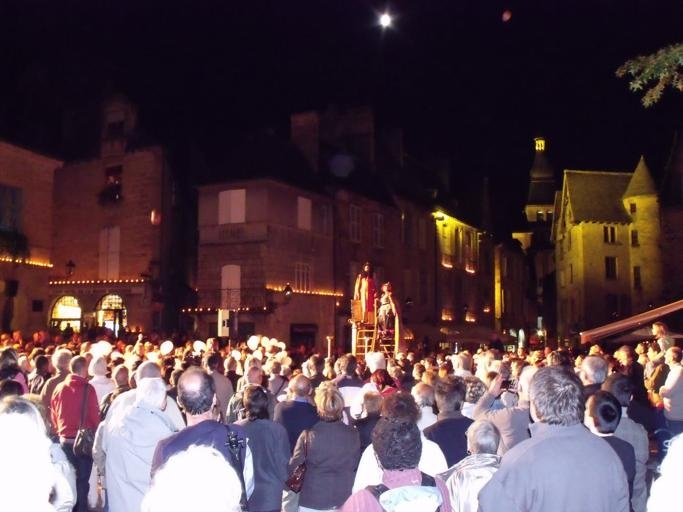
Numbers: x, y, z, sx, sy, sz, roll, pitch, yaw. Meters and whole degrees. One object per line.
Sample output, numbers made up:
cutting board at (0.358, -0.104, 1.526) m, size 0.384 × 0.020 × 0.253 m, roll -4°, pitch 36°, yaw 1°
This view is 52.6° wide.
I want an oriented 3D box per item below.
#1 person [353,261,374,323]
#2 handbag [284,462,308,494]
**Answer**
person at (0.747, 1.240, 22.329) m, size 0.710 × 1.924 × 0.912 m, roll -1°, pitch -14°, yaw 1°
handbag at (-0.474, 2.350, 7.290) m, size 0.130 × 0.332 × 0.228 m, roll 14°, pitch -16°, yaw 21°
